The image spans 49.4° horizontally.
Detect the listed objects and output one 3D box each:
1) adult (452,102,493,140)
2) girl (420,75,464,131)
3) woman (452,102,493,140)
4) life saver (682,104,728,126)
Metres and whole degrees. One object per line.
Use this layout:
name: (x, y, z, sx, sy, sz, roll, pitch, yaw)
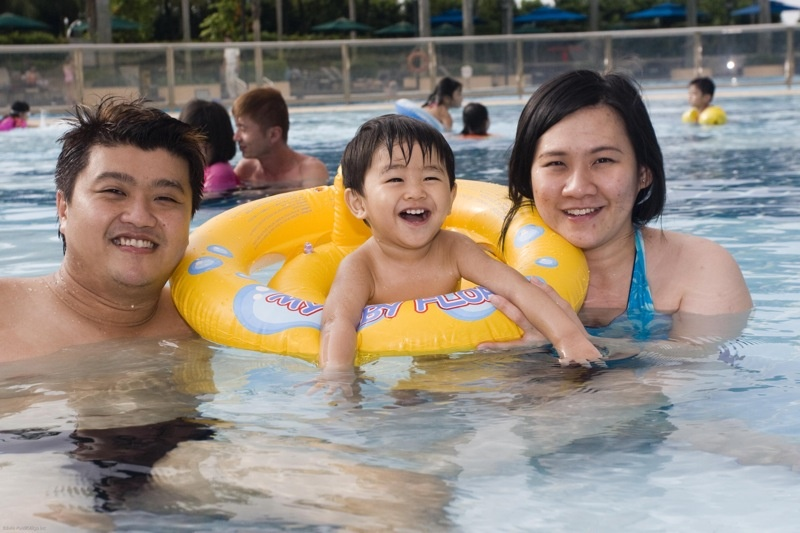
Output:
adult: (1.031, -1.940, 11.907, 0.780, 0.522, 0.463, 3, 49, 6)
girl: (0.634, -2.338, 12.631, 0.750, 0.832, 0.447, 4, -8, -13)
woman: (1.032, -1.918, 11.879, 0.780, 0.522, 0.463, 3, 49, 6)
life saver: (4.447, -2.166, 12.650, 0.555, 0.154, 0.434, -2, 9, 0)
